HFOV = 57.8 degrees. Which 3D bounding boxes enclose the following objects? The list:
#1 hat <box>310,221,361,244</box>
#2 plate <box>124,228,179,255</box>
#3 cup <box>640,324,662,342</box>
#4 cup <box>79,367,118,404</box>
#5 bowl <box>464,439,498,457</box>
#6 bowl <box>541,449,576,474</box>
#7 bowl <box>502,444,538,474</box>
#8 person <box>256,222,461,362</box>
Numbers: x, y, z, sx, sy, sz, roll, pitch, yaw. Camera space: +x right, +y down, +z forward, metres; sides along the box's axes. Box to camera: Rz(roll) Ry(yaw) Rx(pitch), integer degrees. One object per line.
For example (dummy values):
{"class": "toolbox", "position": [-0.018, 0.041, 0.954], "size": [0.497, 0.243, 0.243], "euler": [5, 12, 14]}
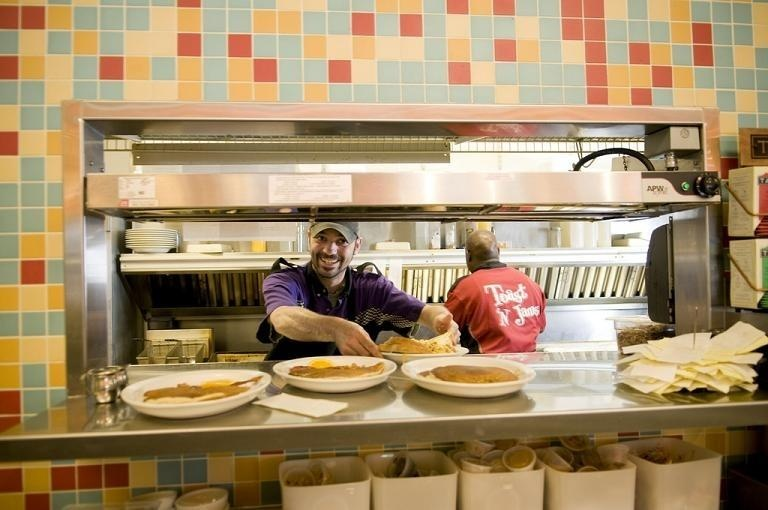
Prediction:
{"class": "hat", "position": [-0.298, -0.135, 4.081], "size": [0.284, 0.132, 0.194], "euler": [-4, 3, -4]}
{"class": "plate", "position": [-1.600, -0.102, 4.781], "size": [0.241, 0.084, 0.234], "euler": [-1, -3, 35]}
{"class": "cup", "position": [1.428, 0.400, 3.667], "size": [0.159, 0.080, 0.047], "euler": [-6, 3, -35]}
{"class": "cup", "position": [-1.295, 0.596, 3.162], "size": [0.139, 0.122, 0.191], "euler": [2, -3, -27]}
{"class": "bowl", "position": [0.486, 0.981, 3.550], "size": [0.147, 0.073, 0.184], "euler": [-4, 3, 3]}
{"class": "bowl", "position": [0.837, 1.001, 3.400], "size": [0.140, 0.093, 0.241], "euler": [-4, 2, 7]}
{"class": "bowl", "position": [0.655, 0.986, 3.358], "size": [0.158, 0.095, 0.171], "euler": [-4, 3, 0]}
{"class": "person", "position": [-0.198, 0.177, 3.985], "size": [1.048, 1.062, 0.988], "euler": [3, -11, -18]}
